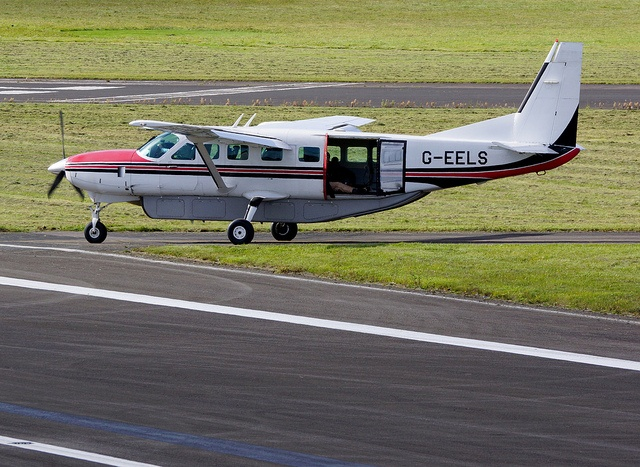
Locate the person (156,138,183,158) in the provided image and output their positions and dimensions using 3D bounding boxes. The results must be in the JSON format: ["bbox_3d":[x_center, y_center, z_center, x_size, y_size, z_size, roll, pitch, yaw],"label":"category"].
[{"bbox_3d":[-4.947,-2.755,38.659,0.945,0.414,0.715,5,9,13],"label":"person"}]
